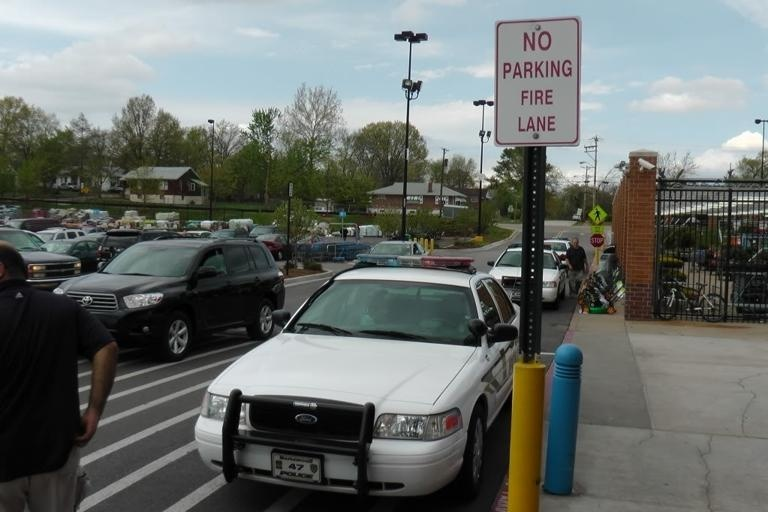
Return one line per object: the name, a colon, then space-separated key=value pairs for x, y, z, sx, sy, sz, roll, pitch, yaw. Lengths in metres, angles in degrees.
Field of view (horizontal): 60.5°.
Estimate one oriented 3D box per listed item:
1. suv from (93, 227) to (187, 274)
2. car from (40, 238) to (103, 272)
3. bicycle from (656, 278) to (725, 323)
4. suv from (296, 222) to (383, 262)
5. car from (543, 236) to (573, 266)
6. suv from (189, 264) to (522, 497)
suv: x=-6.181 y=-0.156 z=16.382 sx=1.103 sy=1.132 sz=2.503 roll=1 pitch=8 yaw=13
car: x=-9.604 y=-0.014 z=20.228 sx=2.021 sy=0.809 sz=0.983 roll=2 pitch=2 yaw=-11
bicycle: x=8.001 y=1.249 z=16.985 sx=1.947 sy=1.271 sz=1.083 roll=4 pitch=1 yaw=9
suv: x=-3.032 y=-0.594 z=37.498 sx=3.650 sy=1.860 sz=2.146 roll=-4 pitch=11 yaw=-25
car: x=6.533 y=-0.189 z=24.627 sx=1.243 sy=1.042 sz=2.944 roll=2 pitch=11 yaw=17
suv: x=-0.108 y=1.418 z=7.154 sx=2.262 sy=2.227 sz=3.476 roll=5 pitch=9 yaw=44
